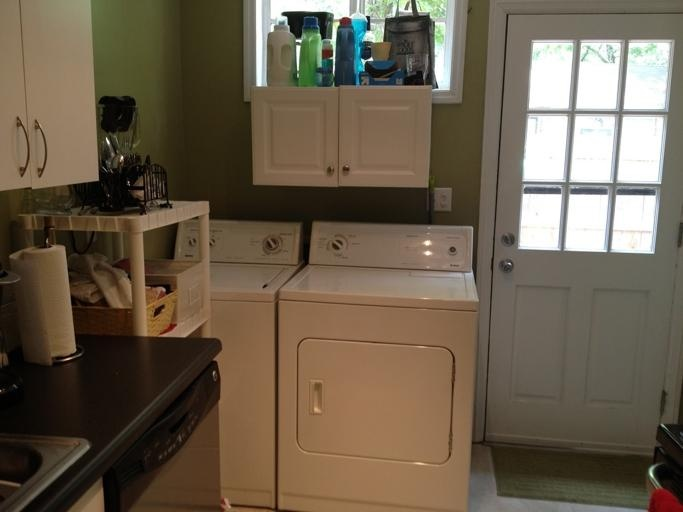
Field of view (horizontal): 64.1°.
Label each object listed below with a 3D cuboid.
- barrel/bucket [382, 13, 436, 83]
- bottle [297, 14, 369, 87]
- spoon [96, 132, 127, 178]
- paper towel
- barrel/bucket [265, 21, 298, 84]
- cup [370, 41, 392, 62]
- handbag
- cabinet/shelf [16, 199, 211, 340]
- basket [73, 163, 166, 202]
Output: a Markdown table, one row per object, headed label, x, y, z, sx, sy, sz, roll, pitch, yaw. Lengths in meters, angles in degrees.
| label | x | y | z | sx | sy | sz | roll | pitch | yaw |
| --- | --- | --- | --- | --- | --- | --- | --- | --- | --- |
| barrel/bucket | 0.335 | -1.053 | 2.723 | 0.267 | 0.366 | 0.128 | 6 | 46 | 15 |
| bottle | -0.058 | -1.007 | 2.683 | 0.221 | 0.354 | 0.293 | 15 | 23 | 40 |
| spoon | -0.857 | -0.379 | 2.035 | 0.057 | 0.040 | 0.277 | 0 | 43 | -17 |
| paper towel | -0.903 | 0.137 | 1.680 | 0.124 | 0.321 | 0.141 | 8 | 13 | 34 |
| barrel/bucket | -0.295 | -0.996 | 2.662 | 0.134 | 0.302 | 0.139 | 2 | 21 | -1 |
| cup | 0.189 | -0.985 | 2.616 | 0.082 | 0.080 | 0.085 | 2 | 16 | 0 |
| handbag | 0.324 | -1.058 | 2.728 | 0.268 | 0.373 | 0.147 | 4 | 55 | 13 |
| cabinet/shelf | -0.814 | -0.050 | 2.100 | 0.582 | 0.668 | 0.469 | 0 | 4 | 8 |
| basket | -0.791 | -0.271 | 2.047 | 0.210 | 0.116 | 0.224 | 5 | 15 | 26 |
